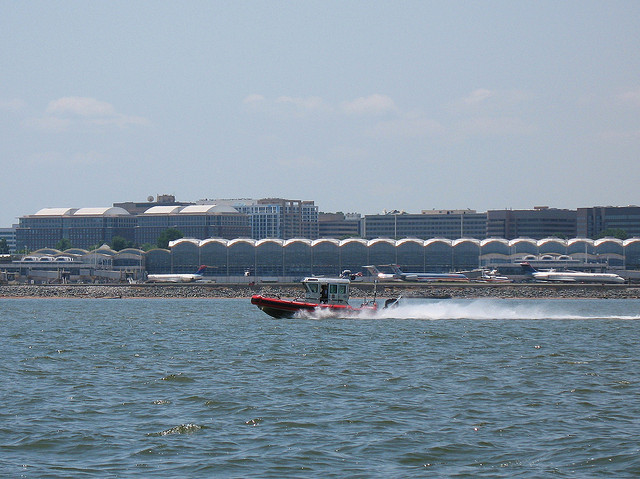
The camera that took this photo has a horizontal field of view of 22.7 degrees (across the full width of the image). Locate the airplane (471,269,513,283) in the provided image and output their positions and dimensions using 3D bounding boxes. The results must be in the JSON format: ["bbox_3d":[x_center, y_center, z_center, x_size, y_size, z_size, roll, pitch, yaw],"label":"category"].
[{"bbox_3d":[27.691,6.751,256.192,5.783,1.641,9.759,2,13,7],"label":"airplane"}]

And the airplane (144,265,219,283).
[{"bbox_3d":[-23.633,6.688,266.153,10.109,2.464,9.364,-2,13,-9],"label":"airplane"}]

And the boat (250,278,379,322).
[{"bbox_3d":[-0.123,6.629,173.826,13.048,4.409,9.874,-2,5,39],"label":"boat"}]
